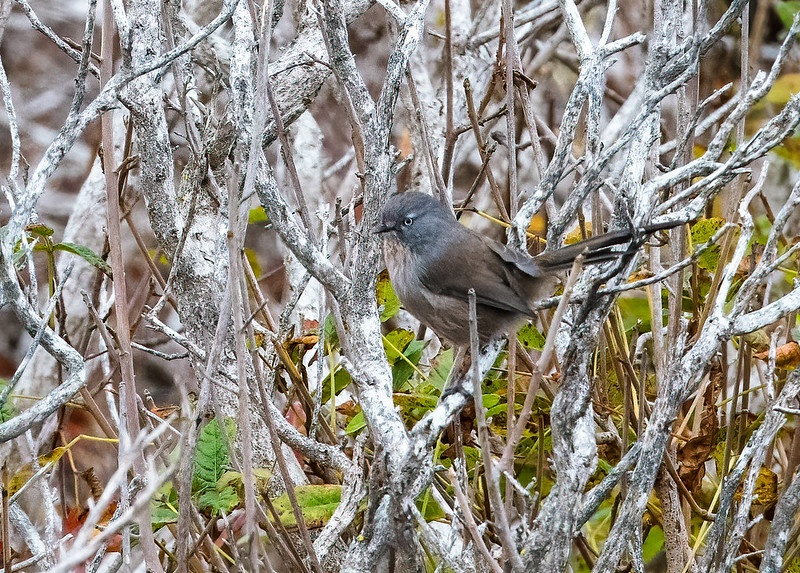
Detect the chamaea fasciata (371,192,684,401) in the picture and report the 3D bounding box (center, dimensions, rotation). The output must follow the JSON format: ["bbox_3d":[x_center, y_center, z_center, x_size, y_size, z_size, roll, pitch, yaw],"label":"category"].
[{"bbox_3d":[0.354,-0.119,5.877,0.659,0.762,1.305,-17,20,-37],"label":"chamaea fasciata"}]
